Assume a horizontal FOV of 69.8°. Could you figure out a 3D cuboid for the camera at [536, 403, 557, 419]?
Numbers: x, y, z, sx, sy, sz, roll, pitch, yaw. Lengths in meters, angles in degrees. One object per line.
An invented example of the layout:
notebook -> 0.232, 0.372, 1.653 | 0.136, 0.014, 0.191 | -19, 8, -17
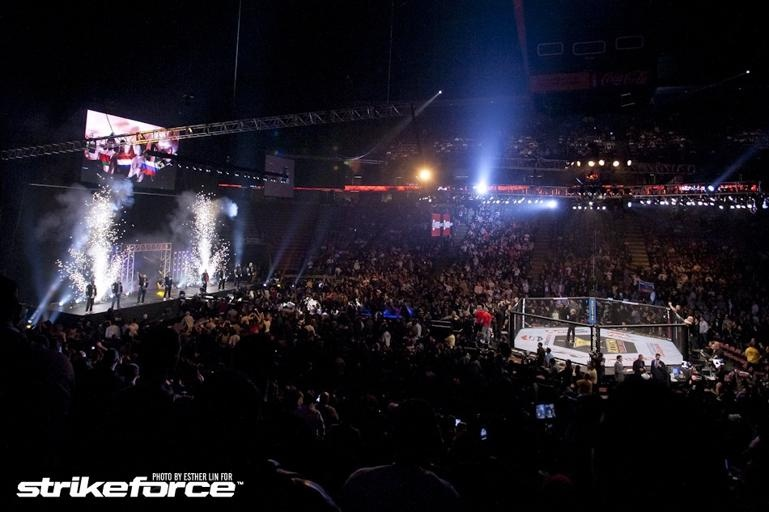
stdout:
camera -> 4.413, 4.287, 15.128 | 0.694, 0.460, 0.360 | 3, -23, -6
